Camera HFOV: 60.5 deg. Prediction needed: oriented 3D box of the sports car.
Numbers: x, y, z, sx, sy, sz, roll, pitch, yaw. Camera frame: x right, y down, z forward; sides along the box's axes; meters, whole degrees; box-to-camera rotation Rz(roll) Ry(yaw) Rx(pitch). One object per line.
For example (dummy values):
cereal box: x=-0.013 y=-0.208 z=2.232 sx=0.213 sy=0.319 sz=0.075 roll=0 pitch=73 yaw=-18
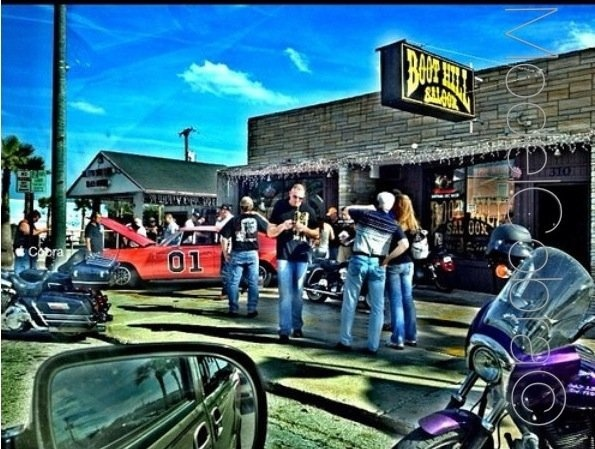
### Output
sports car: x=-2.205 y=0.683 z=10.665 sx=3.327 sy=1.259 sz=1.468 roll=1 pitch=-3 yaw=2

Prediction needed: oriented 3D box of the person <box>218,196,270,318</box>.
person: x=-0.890 y=0.522 z=8.449 sx=0.744 sy=1.917 sz=1.490 roll=-2 pitch=3 yaw=-8

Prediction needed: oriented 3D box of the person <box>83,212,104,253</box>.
person: x=-3.579 y=0.172 z=8.957 sx=0.280 sy=0.697 sz=0.865 roll=-2 pitch=4 yaw=-15

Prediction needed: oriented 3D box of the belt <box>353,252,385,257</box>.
belt: x=0.826 y=0.357 z=5.883 sx=0.363 sy=0.076 sz=0.141 roll=-1 pitch=3 yaw=1

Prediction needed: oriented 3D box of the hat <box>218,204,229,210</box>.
hat: x=-1.575 y=-0.357 z=10.854 sx=0.211 sy=0.076 sz=0.225 roll=16 pitch=-11 yaw=-42

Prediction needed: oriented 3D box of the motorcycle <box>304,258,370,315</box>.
motorcycle: x=0.806 y=1.107 z=9.166 sx=0.643 sy=0.738 sz=1.165 roll=14 pitch=-7 yaw=-42

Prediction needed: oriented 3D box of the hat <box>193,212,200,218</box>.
hat: x=-2.416 y=-0.225 z=12.132 sx=0.142 sy=0.119 sz=0.189 roll=3 pitch=8 yaw=-5

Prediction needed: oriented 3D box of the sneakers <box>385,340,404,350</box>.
sneakers: x=1.190 y=1.496 z=6.278 sx=0.081 sy=0.096 sz=0.220 roll=3 pitch=6 yaw=-36

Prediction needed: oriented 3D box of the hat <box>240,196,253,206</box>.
hat: x=-0.841 y=-0.364 z=8.394 sx=0.152 sy=0.208 sz=0.200 roll=1 pitch=-4 yaw=4

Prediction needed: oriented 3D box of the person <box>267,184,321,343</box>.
person: x=-0.035 y=0.500 z=6.574 sx=0.602 sy=2.006 sz=0.483 roll=-2 pitch=4 yaw=-14

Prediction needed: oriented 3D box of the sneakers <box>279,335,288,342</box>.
sneakers: x=-0.169 y=1.436 z=6.372 sx=0.110 sy=0.089 sz=0.097 roll=-2 pitch=3 yaw=-14

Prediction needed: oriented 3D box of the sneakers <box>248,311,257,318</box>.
sneakers: x=-0.699 y=1.452 z=8.082 sx=0.162 sy=0.111 sz=0.064 roll=22 pitch=-35 yaw=-33
